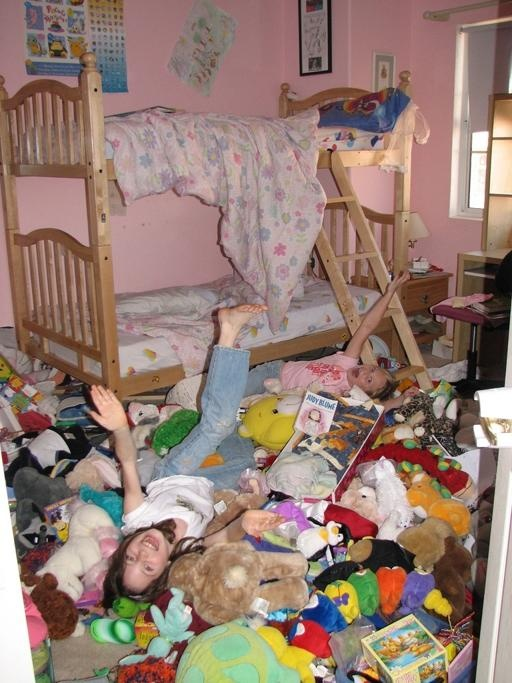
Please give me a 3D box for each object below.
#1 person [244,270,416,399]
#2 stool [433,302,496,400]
[{"bbox_3d":[0.406,-0.034,3.079,0.753,0.164,0.481,-27,60,-19],"label":"person"},{"bbox_3d":[1.295,0.038,3.204,0.341,0.429,0.363,3,3,-23],"label":"stool"}]
